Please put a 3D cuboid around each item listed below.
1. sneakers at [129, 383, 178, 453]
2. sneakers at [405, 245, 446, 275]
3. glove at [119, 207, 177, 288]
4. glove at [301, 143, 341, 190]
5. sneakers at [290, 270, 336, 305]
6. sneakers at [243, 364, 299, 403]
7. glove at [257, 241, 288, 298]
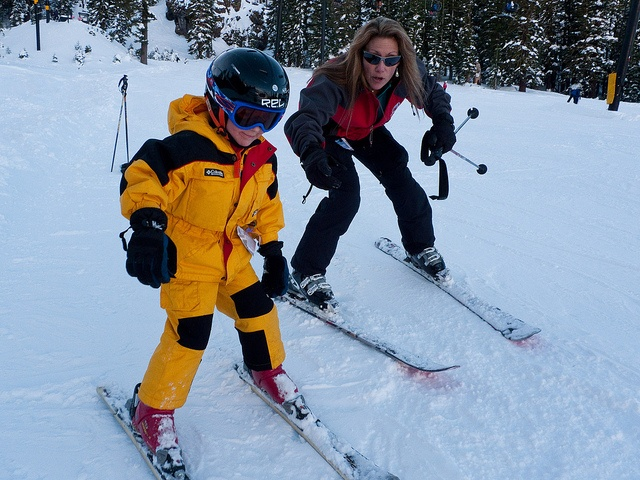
[{"bbox_3d":[-1.025,1.051,3.483,0.162,0.228,0.492,12,22,-48],"label":"sneakers"},{"bbox_3d":[0.939,0.186,5.037,0.159,0.166,0.375,-40,55,-21],"label":"sneakers"},{"bbox_3d":[-0.965,0.033,3.200,0.311,0.447,0.182,1,3,3],"label":"glove"},{"bbox_3d":[0.006,-0.493,3.858,0.268,0.278,0.327,7,14,-3],"label":"glove"},{"bbox_3d":[-0.074,0.389,4.706,0.428,0.192,0.186,27,28,33],"label":"sneakers"},{"bbox_3d":[-0.309,0.892,3.765,0.425,0.187,0.147,31,35,34],"label":"sneakers"},{"bbox_3d":[-0.295,0.186,3.746,0.144,0.348,0.220,-5,-16,3],"label":"glove"}]
